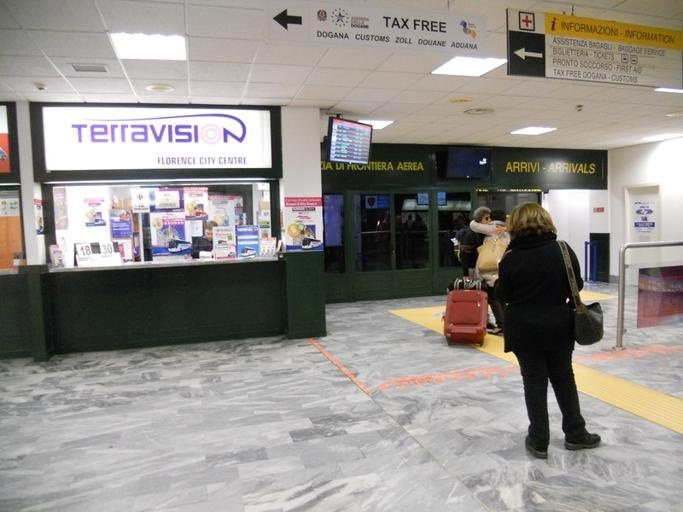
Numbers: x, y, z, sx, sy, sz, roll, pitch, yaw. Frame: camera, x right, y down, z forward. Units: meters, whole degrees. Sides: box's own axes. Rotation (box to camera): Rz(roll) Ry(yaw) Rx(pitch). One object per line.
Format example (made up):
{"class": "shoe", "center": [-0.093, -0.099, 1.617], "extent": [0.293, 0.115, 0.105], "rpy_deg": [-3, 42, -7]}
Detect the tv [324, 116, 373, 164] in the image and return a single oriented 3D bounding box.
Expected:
{"class": "tv", "center": [0.107, -1.901, 7.461], "extent": [1.083, 0.707, 0.143], "rpy_deg": [-3, 8, -42]}

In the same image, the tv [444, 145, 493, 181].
{"class": "tv", "center": [2.947, -2.226, 10.876], "extent": [1.026, 0.626, 0.127], "rpy_deg": [0, 1, -13]}

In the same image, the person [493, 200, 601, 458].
{"class": "person", "center": [1.660, 0.600, 3.752], "extent": [0.761, 2.048, 0.417], "rpy_deg": [0, 9, 16]}

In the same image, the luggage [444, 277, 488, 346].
{"class": "luggage", "center": [1.818, 0.822, 6.730], "extent": [0.561, 0.861, 0.675], "rpy_deg": [0, 9, 19]}

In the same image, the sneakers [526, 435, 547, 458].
{"class": "sneakers", "center": [1.600, 1.577, 3.795], "extent": [0.084, 0.077, 0.201], "rpy_deg": [-1, 9, -2]}

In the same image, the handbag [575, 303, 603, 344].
{"class": "handbag", "center": [2.014, 0.562, 3.718], "extent": [0.170, 0.393, 0.359], "rpy_deg": [5, 11, 41]}

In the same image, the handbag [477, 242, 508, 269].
{"class": "handbag", "center": [2.072, -0.005, 6.320], "extent": [0.191, 0.427, 0.370], "rpy_deg": [32, -14, -33]}
